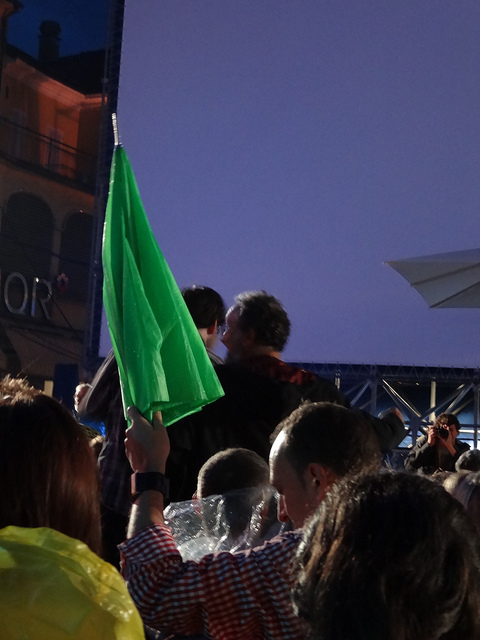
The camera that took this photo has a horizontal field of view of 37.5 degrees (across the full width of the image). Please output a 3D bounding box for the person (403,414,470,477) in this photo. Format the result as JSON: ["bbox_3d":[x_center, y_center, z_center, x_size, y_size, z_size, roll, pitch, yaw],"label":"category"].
[{"bbox_3d":[1.342,0.875,4.886,0.366,0.440,1.319,12,2,18],"label":"person"}]

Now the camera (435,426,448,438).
[{"bbox_3d":[1.363,0.766,4.822,0.074,0.076,0.147,12,2,28],"label":"camera"}]

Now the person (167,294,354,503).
[{"bbox_3d":[0.014,0.251,1.989,0.603,0.751,0.241,6,-26,-11],"label":"person"}]

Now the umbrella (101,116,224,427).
[{"bbox_3d":[-0.235,-0.176,1.741,0.233,0.809,0.214,-10,-13,-10],"label":"umbrella"}]
